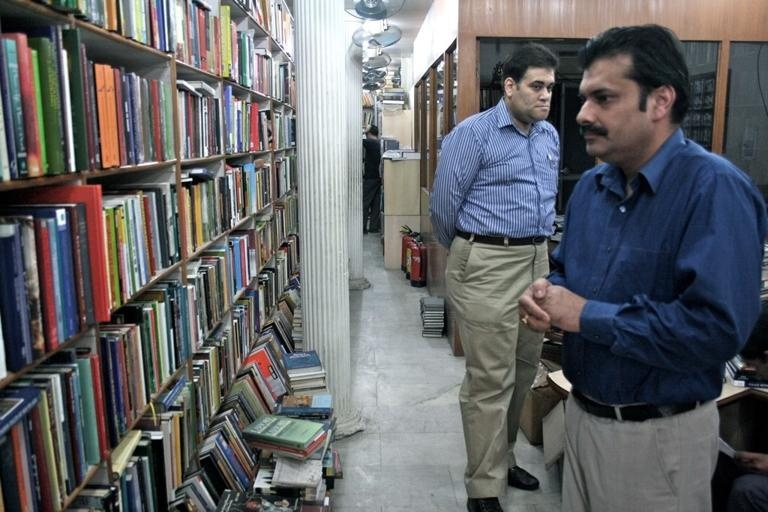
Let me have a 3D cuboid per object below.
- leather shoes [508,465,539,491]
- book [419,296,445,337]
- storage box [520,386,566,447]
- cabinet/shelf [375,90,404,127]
[{"bbox_3d":[0.847,1.351,3.559,0.239,0.096,0.091,1,7,31],"label":"leather shoes"},{"bbox_3d":[0.513,0.629,6.086,0.256,0.257,0.353,0,7,1],"label":"book"},{"bbox_3d":[1.159,1.113,3.991,0.246,0.349,0.266,-10,-22,19],"label":"storage box"},{"bbox_3d":[0.132,-2.938,12.285,0.629,1.026,1.089,3,14,-6],"label":"cabinet/shelf"}]
